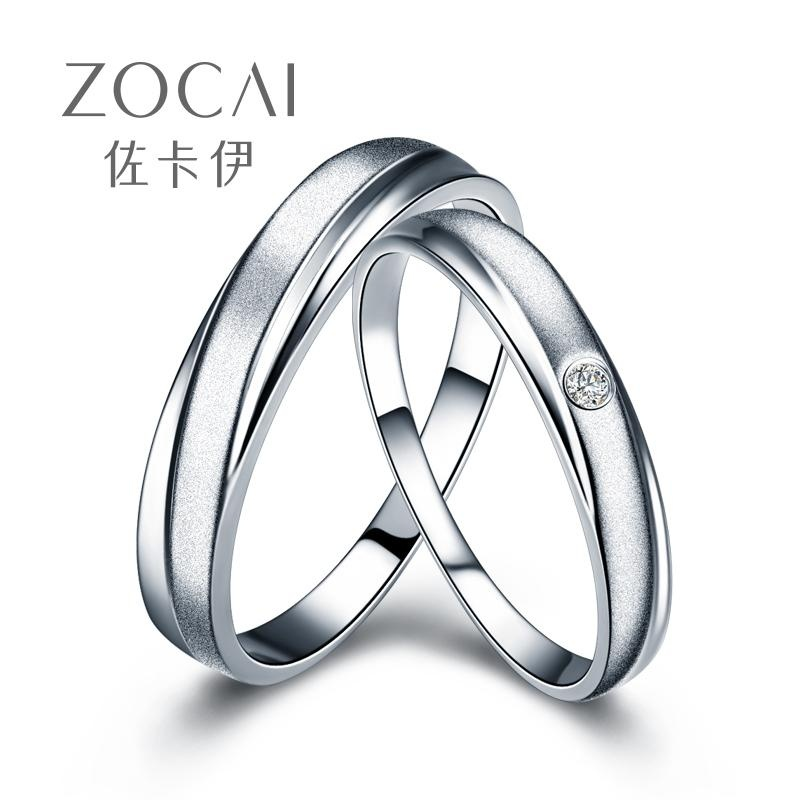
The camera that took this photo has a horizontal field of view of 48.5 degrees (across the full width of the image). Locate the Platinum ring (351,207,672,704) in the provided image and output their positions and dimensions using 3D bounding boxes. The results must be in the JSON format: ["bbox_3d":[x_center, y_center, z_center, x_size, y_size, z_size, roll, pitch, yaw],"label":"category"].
[{"bbox_3d":[0.258,0.084,2.440,0.733,1.236,1.123,-2,-40,-3],"label":"Platinum ring"}]

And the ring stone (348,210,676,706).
[{"bbox_3d":[0.386,0.168,2.391,0.249,1.155,1.193,-20,-11,-11],"label":"ring stone"}]
